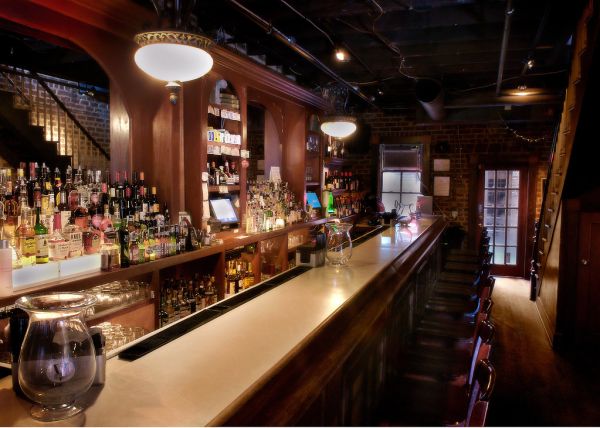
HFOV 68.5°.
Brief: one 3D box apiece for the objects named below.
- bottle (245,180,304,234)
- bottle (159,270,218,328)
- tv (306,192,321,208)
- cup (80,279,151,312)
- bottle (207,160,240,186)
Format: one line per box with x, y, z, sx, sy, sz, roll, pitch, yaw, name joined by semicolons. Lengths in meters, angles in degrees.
-0.309;-0.104;5.638;0.305;0.442;1.074;0;-1;17;bottle
-1.069;0.766;4.195;0.201;0.377;0.704;5;9;30;bottle
0.204;-0.210;6.916;0.086;0.222;0.298;-15;-7;28;tv
-1.477;0.644;3.551;0.213;0.173;0.543;5;9;30;cup
-0.838;-0.435;4.792;0.102;0.285;0.294;6;8;43;bottle
